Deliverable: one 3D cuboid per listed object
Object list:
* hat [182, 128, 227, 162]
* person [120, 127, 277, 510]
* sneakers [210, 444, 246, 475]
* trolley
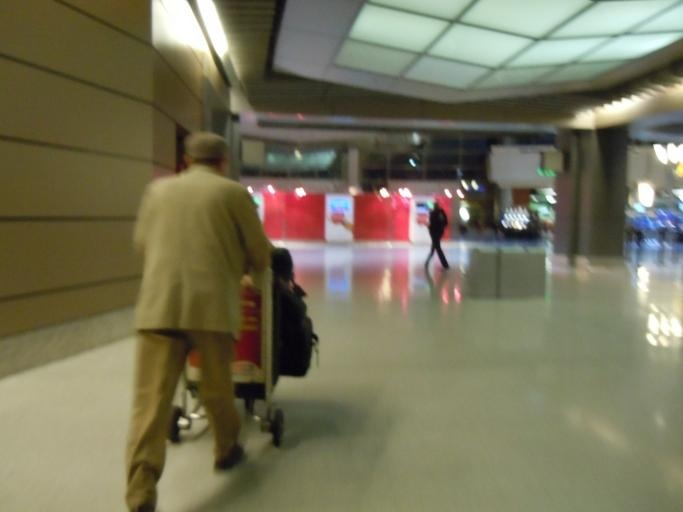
[{"bbox_3d":[-0.820,-0.669,3.350,0.196,0.183,0.169,-3,1,-20],"label":"hat"},{"bbox_3d":[-0.859,0.345,3.248,0.831,2.124,0.482,-3,8,-26],"label":"person"},{"bbox_3d":[-0.707,1.309,3.529,0.157,0.133,0.048,-29,41,-29],"label":"sneakers"},{"bbox_3d":[-0.764,0.700,4.216,1.210,1.502,1.260,-5,-14,42],"label":"trolley"}]
